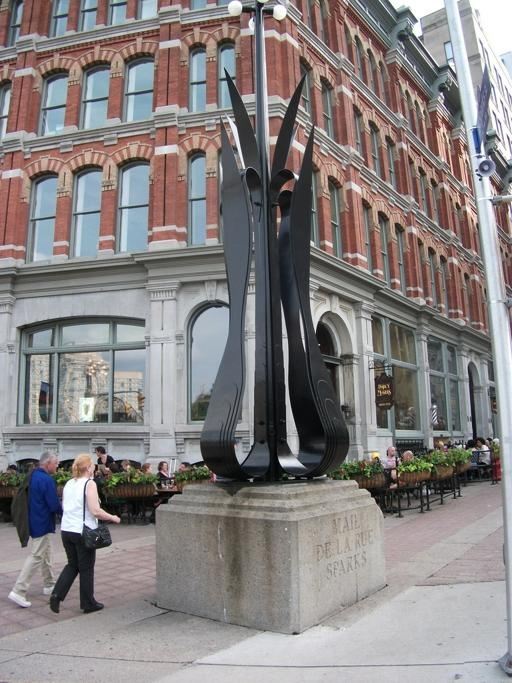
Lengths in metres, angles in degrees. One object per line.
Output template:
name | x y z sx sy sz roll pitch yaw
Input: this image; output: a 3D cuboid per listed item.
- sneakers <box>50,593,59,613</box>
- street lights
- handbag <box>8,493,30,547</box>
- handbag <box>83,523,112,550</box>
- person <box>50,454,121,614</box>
sneakers | -1.802 2.340 5.130 0.078 0.167 0.116 3 -12 -19
street lights | 0.076 -1.526 6.464 0.597 6.014 0.782 -2 -12 2
handbag | -2.471 1.880 6.023 0.177 0.549 0.402 3 -13 -22
handbag | -1.450 1.793 5.251 0.264 0.219 0.216 8 -15 -37
person | -1.627 1.800 5.409 0.551 1.438 0.790 3 -12 -19
